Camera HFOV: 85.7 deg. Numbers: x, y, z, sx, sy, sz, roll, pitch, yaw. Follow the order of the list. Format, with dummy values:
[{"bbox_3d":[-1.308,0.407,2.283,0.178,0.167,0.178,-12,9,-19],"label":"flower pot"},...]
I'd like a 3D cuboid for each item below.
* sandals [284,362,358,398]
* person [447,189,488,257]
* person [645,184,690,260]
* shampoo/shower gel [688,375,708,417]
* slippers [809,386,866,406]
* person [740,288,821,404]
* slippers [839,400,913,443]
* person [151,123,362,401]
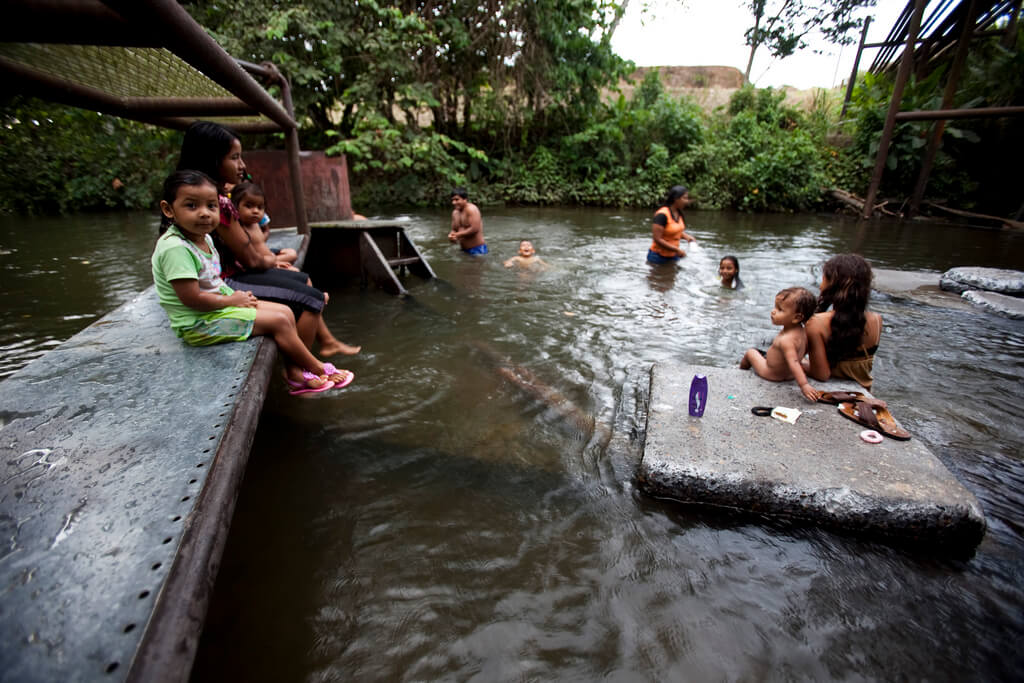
[{"bbox_3d":[-1.671,0.337,4.866,0.443,0.136,0.287,-5,16,-11],"label":"sandals"},{"bbox_3d":[-0.779,-2.148,9.910,0.641,1.072,1.638,-2,16,-6],"label":"person"},{"bbox_3d":[2.567,-1.901,9.061,0.616,1.194,1.327,6,17,16],"label":"person"},{"bbox_3d":[1.385,0.393,4.127,0.127,0.308,0.119,4,18,12],"label":"shampoo/shower gel"},{"bbox_3d":[2.533,0.407,4.307,0.337,0.090,0.367,10,18,31],"label":"slippers"},{"bbox_3d":[2.291,0.064,4.744,0.635,0.634,0.934,18,40,38],"label":"person"},{"bbox_3d":[2.603,0.563,3.981,0.267,0.107,0.413,-4,20,-8],"label":"slippers"},{"bbox_3d":[-2.164,-0.590,4.420,0.990,2.193,1.460,8,19,21],"label":"person"}]
